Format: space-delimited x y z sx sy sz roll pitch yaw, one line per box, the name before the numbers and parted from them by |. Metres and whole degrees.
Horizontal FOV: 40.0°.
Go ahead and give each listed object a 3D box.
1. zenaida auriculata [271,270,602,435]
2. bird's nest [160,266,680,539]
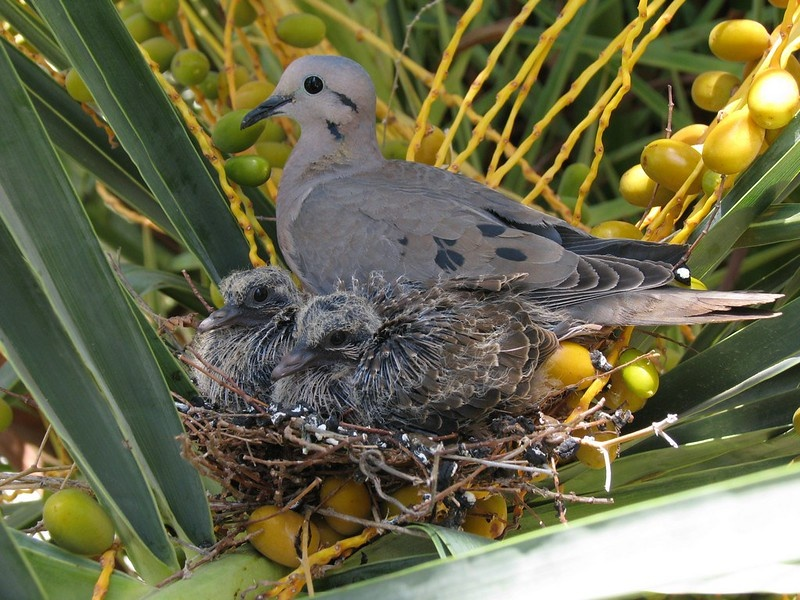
zenaida auriculata | 0.025 0.086 2.001 0.584 0.286 0.254 -18 32 25
bird's nest | 0.049 0.133 1.970 0.765 0.360 0.466 -12 5 15
